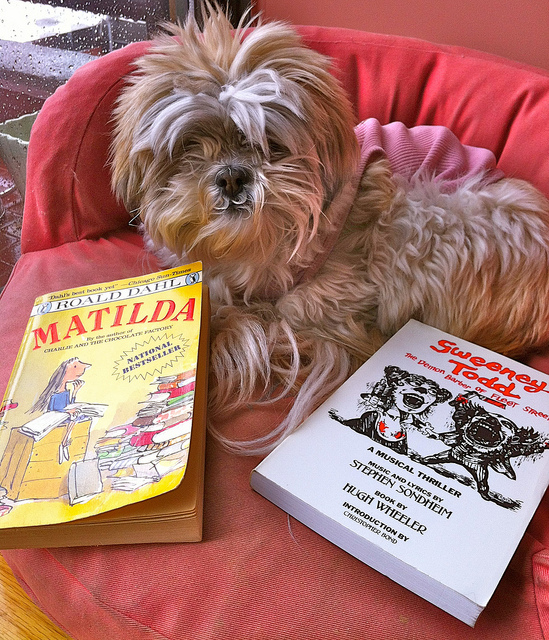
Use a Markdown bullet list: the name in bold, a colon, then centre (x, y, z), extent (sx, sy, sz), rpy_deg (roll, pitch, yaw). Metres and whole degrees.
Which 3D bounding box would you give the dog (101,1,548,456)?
- **dog**: centre (0.109, -0.199, 0.841), extent (0.634, 0.445, 0.544), rpy_deg (-14, 38, -23)
